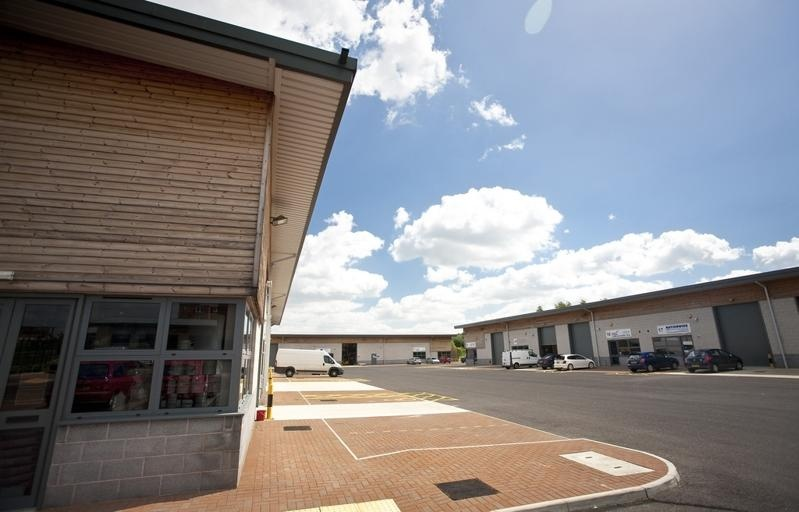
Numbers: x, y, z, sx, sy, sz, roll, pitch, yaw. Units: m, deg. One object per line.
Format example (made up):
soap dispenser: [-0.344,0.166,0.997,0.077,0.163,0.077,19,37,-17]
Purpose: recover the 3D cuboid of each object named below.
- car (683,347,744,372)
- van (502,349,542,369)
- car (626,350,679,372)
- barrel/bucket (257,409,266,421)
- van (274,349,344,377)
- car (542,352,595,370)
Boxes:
car: [19.569,6.575,24.533,3.070,1.351,1.018,1,-15,-14]
van: [12.785,10.806,41.101,3.761,1.511,1.931,-2,-6,-5]
car: [18.014,7.561,27.960,3.383,1.353,0.840,1,-15,-12]
barrel/bucket: [-4.457,5.147,12.628,0.372,0.294,0.183,2,-2,-10]
van: [-8.287,9.581,35.619,6.560,2.415,2.438,-1,-5,-10]
car: [14.282,9.372,34.463,4.566,1.280,2.647,-12,-16,37]
